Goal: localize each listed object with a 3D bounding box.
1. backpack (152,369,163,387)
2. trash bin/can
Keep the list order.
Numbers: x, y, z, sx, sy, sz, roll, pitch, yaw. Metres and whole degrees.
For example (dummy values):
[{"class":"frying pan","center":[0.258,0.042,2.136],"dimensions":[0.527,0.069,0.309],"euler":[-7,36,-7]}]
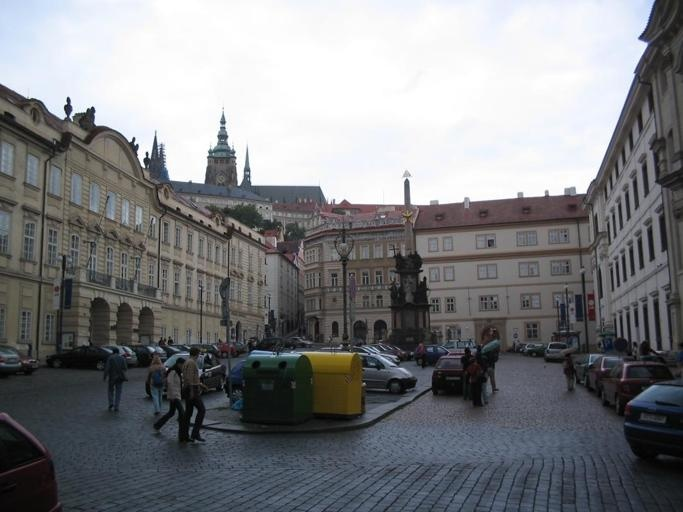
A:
[{"class":"backpack","center":[-5.851,3.904,19.824],"dimensions":[0.436,0.630,0.329],"euler":[2,-18,-21]},{"class":"trash bin/can","center":[-1.037,3.746,17.737],"dimensions":[3.393,1.930,1.256],"euler":[6,-12,-35]}]
